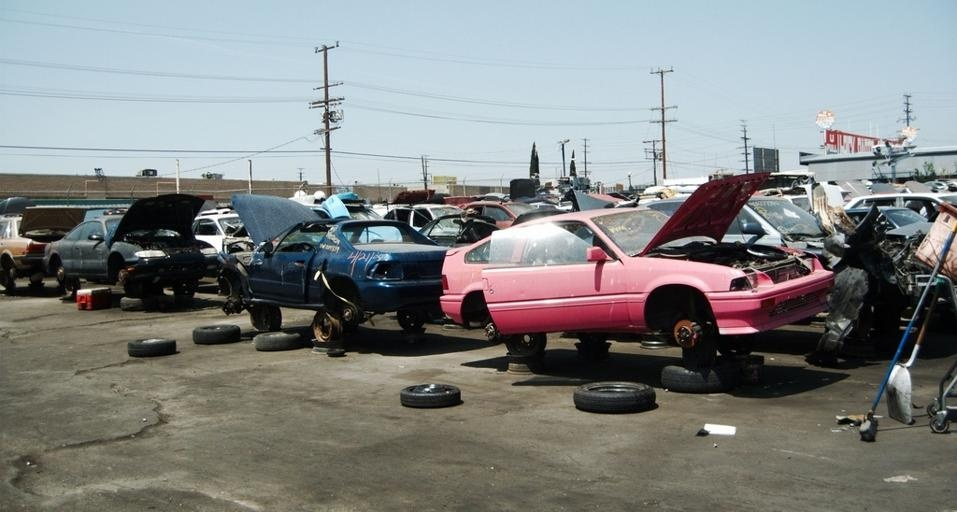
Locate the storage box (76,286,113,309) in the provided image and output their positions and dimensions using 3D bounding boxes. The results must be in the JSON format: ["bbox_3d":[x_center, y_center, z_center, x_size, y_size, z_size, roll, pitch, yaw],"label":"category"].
[{"bbox_3d":[-11.429,1.264,19.724,0.719,0.574,1.091,5,6,28],"label":"storage box"}]

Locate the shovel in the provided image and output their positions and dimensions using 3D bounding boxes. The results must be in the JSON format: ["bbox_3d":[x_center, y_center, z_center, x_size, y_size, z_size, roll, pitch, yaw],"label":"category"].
[{"bbox_3d":[6.076,1.510,9.424,0.405,1.780,0.692,7,17,34],"label":"shovel"}]
